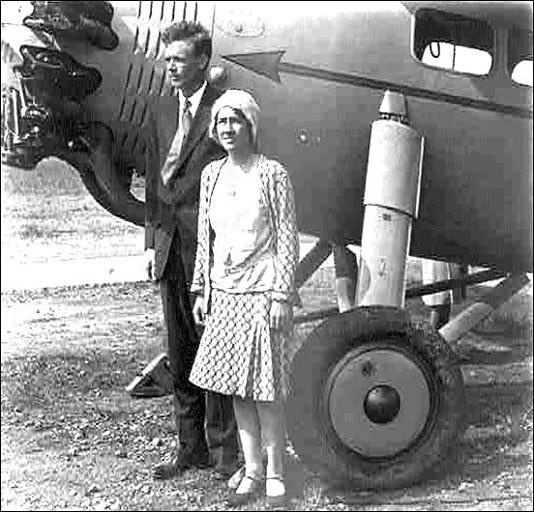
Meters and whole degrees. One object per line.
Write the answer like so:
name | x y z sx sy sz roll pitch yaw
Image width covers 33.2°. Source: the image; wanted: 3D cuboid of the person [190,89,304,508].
person | -0.120 0.258 4.292 0.554 1.943 0.424 6 15 9

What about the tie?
tie | -0.480 -0.558 4.613 0.047 0.441 0.088 11 0 3

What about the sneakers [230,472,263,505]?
sneakers | -0.112 1.157 4.383 0.147 0.151 0.113 0 2 -39
